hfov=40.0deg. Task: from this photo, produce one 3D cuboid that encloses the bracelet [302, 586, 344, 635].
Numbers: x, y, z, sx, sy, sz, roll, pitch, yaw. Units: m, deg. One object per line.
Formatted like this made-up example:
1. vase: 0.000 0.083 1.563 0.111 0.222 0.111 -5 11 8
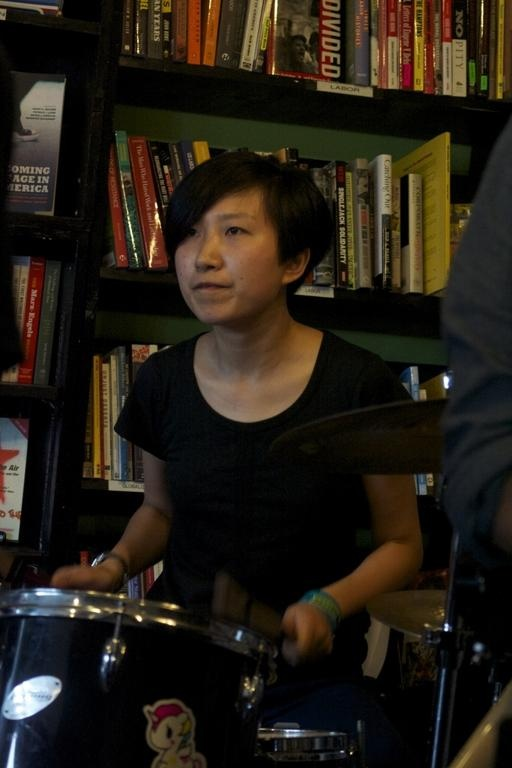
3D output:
1. bracelet: 0.088 0.282 0.892 0.046 0.052 0.046 13 39 37
